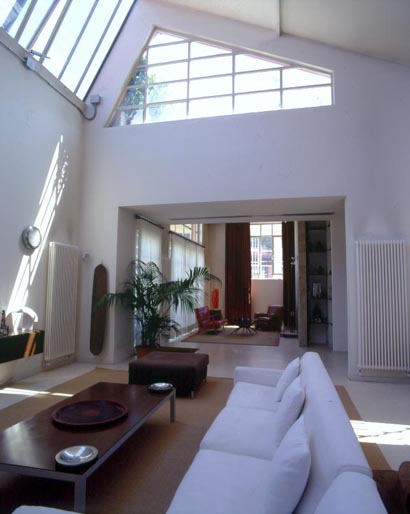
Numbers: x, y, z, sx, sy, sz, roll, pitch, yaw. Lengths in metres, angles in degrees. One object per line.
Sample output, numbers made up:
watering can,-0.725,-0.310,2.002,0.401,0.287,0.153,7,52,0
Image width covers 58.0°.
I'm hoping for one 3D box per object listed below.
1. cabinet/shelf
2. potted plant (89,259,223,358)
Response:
cabinet/shelf,2.572,0.260,8.497,0.508,2.369,0.492,-1,-4,19
potted plant,-0.879,0.883,7.072,1.597,1.729,2.606,0,-5,14
